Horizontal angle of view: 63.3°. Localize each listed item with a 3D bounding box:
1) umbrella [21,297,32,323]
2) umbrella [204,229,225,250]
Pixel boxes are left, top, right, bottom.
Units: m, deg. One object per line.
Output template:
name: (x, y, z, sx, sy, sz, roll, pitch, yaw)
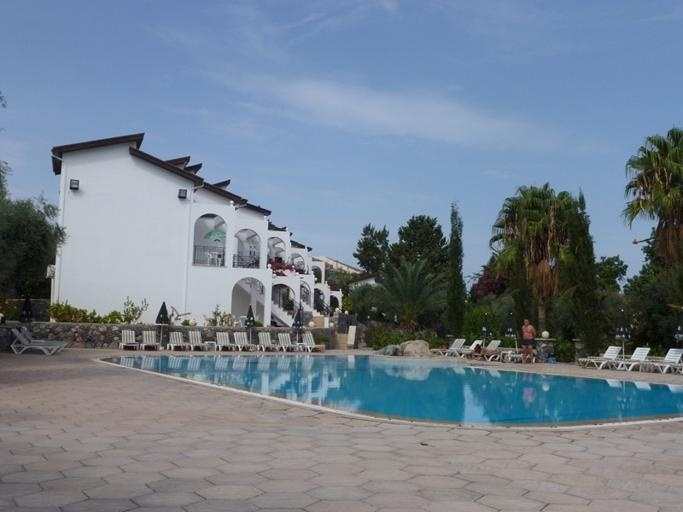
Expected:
umbrella: (-12.653, 2.133, 22.199, 0.367, 1.069, 2.082, 6, -8, -30)
umbrella: (-7.522, -1.007, 32.963, 1.187, 0.726, 1.241, 6, -13, -30)
